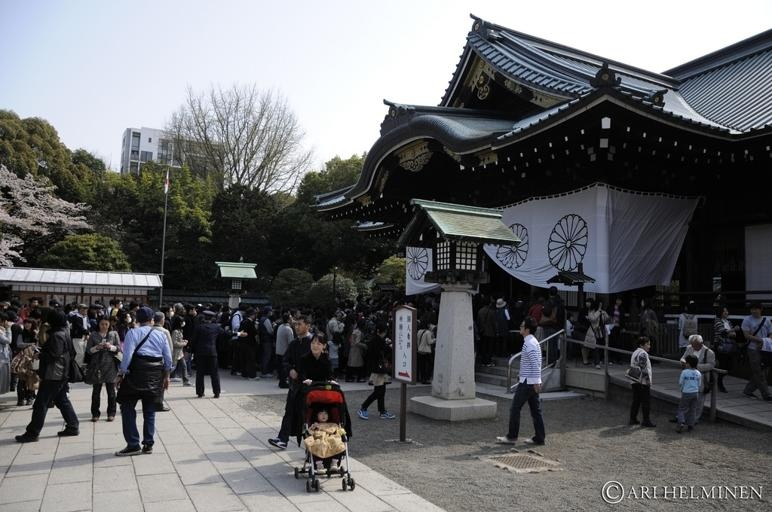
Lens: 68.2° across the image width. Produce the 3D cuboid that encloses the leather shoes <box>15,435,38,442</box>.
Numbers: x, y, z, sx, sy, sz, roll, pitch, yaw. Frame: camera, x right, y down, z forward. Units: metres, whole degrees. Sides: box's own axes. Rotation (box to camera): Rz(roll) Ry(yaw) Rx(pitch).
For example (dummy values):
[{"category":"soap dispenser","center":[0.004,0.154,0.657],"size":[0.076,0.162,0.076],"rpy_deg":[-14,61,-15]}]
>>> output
[{"category":"leather shoes","center":[-6.883,3.449,10.879],"size":[0.399,0.164,0.150],"rpy_deg":[11,-11,-27]}]

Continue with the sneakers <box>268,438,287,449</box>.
[{"category":"sneakers","center":[-2.072,3.565,10.875],"size":[0.372,0.154,0.157],"rpy_deg":[28,-33,-21]}]

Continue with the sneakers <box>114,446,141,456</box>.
[{"category":"sneakers","center":[-4.707,3.528,10.377],"size":[0.455,0.186,0.164],"rpy_deg":[4,-8,-9]}]

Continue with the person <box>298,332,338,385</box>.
[{"category":"person","center":[-1.229,1.873,10.148],"size":[0.678,0.992,0.727],"rpy_deg":[-1,-7,5]}]

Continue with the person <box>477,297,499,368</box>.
[{"category":"person","center":[3.105,2.329,17.409],"size":[0.592,2.027,0.889],"rpy_deg":[2,6,8]}]

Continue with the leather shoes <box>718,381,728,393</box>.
[{"category":"leather shoes","center":[8.625,3.326,14.388],"size":[0.153,0.157,0.388],"rpy_deg":[-17,-29,36]}]

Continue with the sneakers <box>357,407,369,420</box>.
[{"category":"sneakers","center":[-0.528,3.593,13.059],"size":[0.136,0.148,0.323],"rpy_deg":[8,-9,-21]}]

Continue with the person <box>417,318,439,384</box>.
[{"category":"person","center":[1.178,2.856,16.679],"size":[0.468,1.855,0.868],"rpy_deg":[2,6,4]}]

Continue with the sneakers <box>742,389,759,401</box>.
[{"category":"sneakers","center":[8.987,3.369,13.885],"size":[0.390,0.159,0.149],"rpy_deg":[2,-5,-24]}]

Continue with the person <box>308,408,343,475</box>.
[{"category":"person","center":[-1.029,3.085,9.617],"size":[0.649,0.911,0.422],"rpy_deg":[1,6,-7]}]

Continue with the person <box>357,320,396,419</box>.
[{"category":"person","center":[-0.176,2.672,13.171],"size":[0.810,2.220,1.073],"rpy_deg":[2,6,1]}]

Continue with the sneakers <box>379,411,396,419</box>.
[{"category":"sneakers","center":[0.044,3.664,13.213],"size":[0.381,0.166,0.149],"rpy_deg":[5,-8,-15]}]

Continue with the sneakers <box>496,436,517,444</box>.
[{"category":"sneakers","center":[2.459,3.666,11.470],"size":[0.395,0.162,0.143],"rpy_deg":[7,-6,21]}]

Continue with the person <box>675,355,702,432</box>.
[{"category":"person","center":[6.597,2.933,12.321],"size":[0.636,1.627,0.301],"rpy_deg":[-2,7,-27]}]

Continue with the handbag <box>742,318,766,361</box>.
[{"category":"handbag","center":[8.984,1.923,13.718],"size":[0.560,0.932,0.398],"rpy_deg":[6,7,32]}]

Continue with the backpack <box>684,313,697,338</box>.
[{"category":"backpack","center":[8.207,1.856,15.178],"size":[0.268,0.507,0.541],"rpy_deg":[6,8,34]}]

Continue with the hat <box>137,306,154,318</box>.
[{"category":"hat","center":[-4.593,1.070,10.773],"size":[0.215,0.232,0.261],"rpy_deg":[2,4,-34]}]

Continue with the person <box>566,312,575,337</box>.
[{"category":"person","center":[5.357,2.028,16.403],"size":[0.216,0.532,1.002],"rpy_deg":[4,7,22]}]

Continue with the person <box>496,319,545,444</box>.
[{"category":"person","center":[2.906,2.500,11.627],"size":[0.847,2.513,0.974],"rpy_deg":[3,7,17]}]

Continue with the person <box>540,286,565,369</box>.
[{"category":"person","center":[4.729,1.928,15.946],"size":[0.620,2.015,0.937],"rpy_deg":[4,7,19]}]

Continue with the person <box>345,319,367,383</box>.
[{"category":"person","center":[-0.868,2.880,16.464],"size":[0.590,1.569,0.531],"rpy_deg":[11,-41,0]}]

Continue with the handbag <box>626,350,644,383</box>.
[{"category":"handbag","center":[5.576,2.428,12.547],"size":[0.354,0.651,0.227],"rpy_deg":[7,8,38]}]
